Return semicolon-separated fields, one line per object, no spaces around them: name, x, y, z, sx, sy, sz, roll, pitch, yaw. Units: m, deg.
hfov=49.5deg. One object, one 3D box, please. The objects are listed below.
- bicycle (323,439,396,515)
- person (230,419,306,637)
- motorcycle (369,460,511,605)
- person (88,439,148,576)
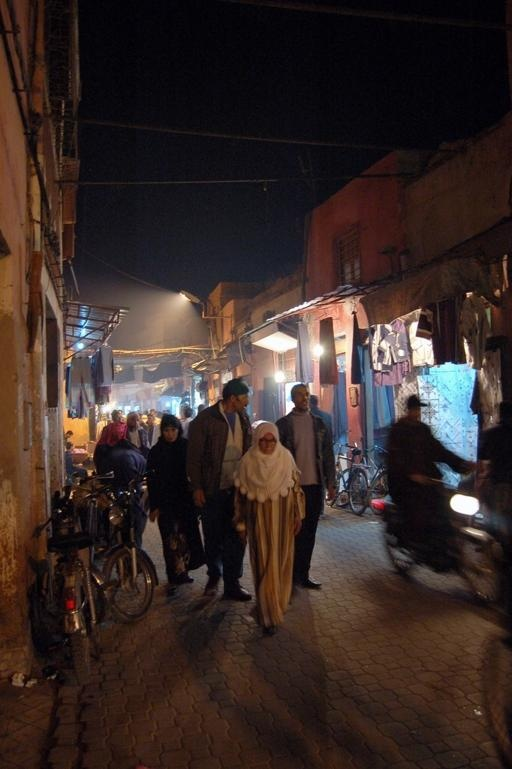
bicycle;1.986;1.636;10.080;0.916;1.199;1.948;3;0;-7
person;0.064;1.074;4.309;0.504;1.543;0.518;-4;-5;23
motorcycle;1.659;1.321;4.655;0.552;0.814;1.341;0;-11;-12
person;-1.357;1.191;5.485;0.753;0.905;1.338;3;13;-24
